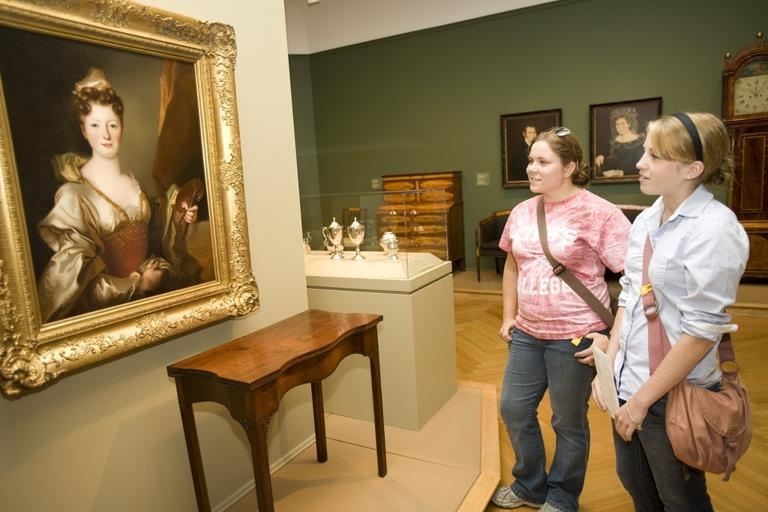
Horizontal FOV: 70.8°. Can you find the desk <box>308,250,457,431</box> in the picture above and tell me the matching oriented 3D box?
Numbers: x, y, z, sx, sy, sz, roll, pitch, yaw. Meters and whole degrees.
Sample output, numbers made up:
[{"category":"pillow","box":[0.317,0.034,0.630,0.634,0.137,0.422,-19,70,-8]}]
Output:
[{"category":"desk","box":[-0.042,0.654,4.284,1.352,1.194,0.708,1,8,23]}]

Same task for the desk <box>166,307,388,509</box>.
[{"category":"desk","box":[-0.744,1.013,3.539,0.645,1.053,1.122,5,16,29]}]

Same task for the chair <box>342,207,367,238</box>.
[{"category":"chair","box":[-0.248,-0.328,4.474,0.153,0.276,0.167,1,2,1]}]

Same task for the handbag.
[{"category":"handbag","box":[1.525,0.799,2.498,0.411,0.461,0.207,-6,13,-10]}]

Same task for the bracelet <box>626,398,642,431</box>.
[{"category":"bracelet","box":[1.219,0.758,2.586,0.035,0.123,0.090,-19,-3,14]}]
